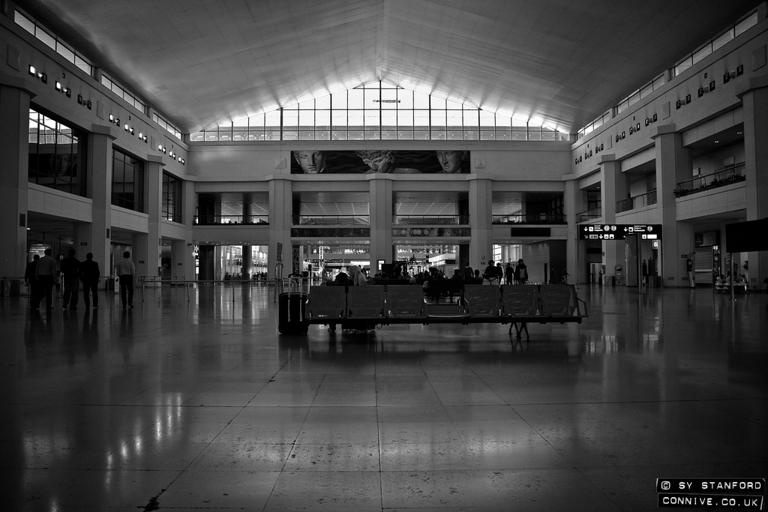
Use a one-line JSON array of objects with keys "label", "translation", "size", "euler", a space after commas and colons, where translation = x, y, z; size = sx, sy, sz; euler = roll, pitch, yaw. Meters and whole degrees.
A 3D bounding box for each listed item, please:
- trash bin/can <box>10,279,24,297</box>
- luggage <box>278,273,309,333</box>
[{"label": "trash bin/can", "translation": [-16.092, 1.371, 28.512], "size": [0.319, 0.717, 0.701], "euler": [5, 11, 21]}, {"label": "luggage", "translation": [-2.258, 1.250, 16.190], "size": [0.824, 1.252, 0.821], "euler": [-1, -5, 4]}]
